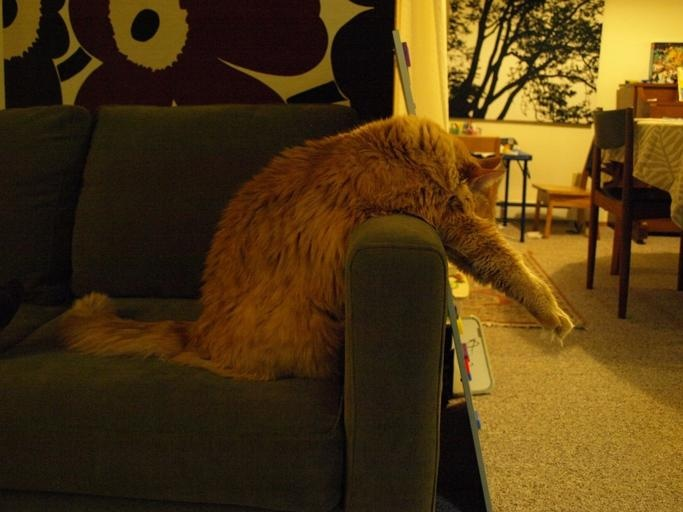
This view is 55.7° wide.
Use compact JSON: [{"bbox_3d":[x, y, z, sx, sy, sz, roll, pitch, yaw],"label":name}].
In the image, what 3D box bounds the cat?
[{"bbox_3d":[-0.069,-0.018,1.851,1.450,0.669,0.599,-5,16,11],"label":"cat"}]
